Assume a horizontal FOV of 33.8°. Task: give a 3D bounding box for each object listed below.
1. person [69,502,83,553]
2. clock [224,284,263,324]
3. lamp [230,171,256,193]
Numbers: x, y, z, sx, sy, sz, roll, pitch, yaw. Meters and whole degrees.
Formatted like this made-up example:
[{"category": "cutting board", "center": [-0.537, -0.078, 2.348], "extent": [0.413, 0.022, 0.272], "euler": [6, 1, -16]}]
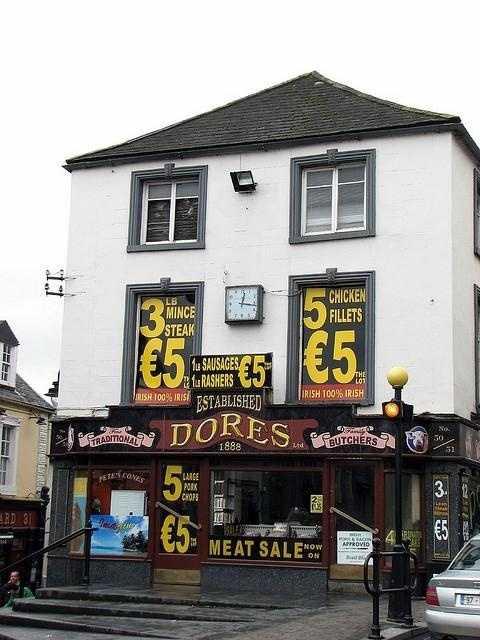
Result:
[{"category": "person", "center": [-3.410, 4.257, 16.238], "extent": [0.189, 0.972, 0.500], "euler": [12, -15, -42]}, {"category": "clock", "center": [0.110, -0.300, 16.140], "extent": [0.753, 0.722, 0.287], "euler": [-2, -14, 18]}, {"category": "lamp", "center": [0.096, -2.941, 16.733], "extent": [0.516, 0.397, 0.409], "euler": [0, -11, 9]}]
